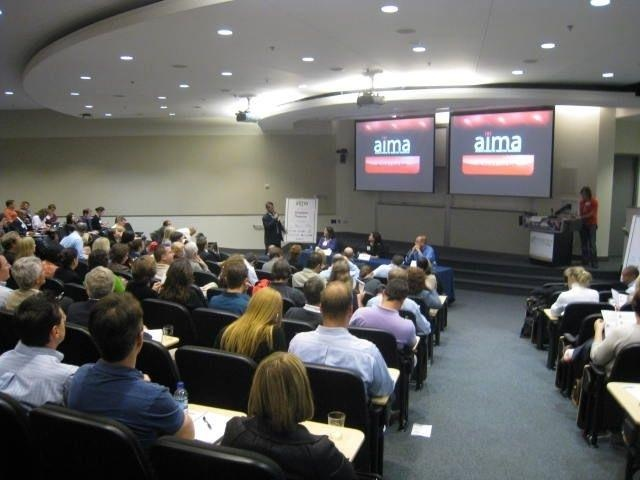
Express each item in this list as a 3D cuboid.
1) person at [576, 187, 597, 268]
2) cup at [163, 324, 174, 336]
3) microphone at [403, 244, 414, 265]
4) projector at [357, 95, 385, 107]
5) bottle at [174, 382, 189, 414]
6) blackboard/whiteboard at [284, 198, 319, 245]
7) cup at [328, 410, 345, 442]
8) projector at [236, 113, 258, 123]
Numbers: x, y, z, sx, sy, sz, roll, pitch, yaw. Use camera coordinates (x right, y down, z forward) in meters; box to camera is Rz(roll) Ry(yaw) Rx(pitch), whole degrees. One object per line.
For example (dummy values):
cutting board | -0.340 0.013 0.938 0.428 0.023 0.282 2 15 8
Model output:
person | 5.246 -0.274 9.193 0.339 1.504 0.564 5 8 30
cup | -1.264 0.737 3.919 0.075 0.094 0.090 1 1 -22
microphone | 1.802 0.286 9.575 0.108 0.399 0.129 27 43 -4
projector | 0.823 -2.304 7.801 0.223 0.113 0.249 8 13 37
bottle | -0.811 0.892 2.747 0.070 0.186 0.364 -2 8 -17
blackboard/whiteboard | -0.460 -0.470 11.577 1.100 1.527 0.107 0 2 7
cup | 0.100 1.059 2.775 0.086 0.108 0.095 0 -1 0
projector | -1.569 -2.633 10.003 0.375 0.223 0.453 1 8 7
